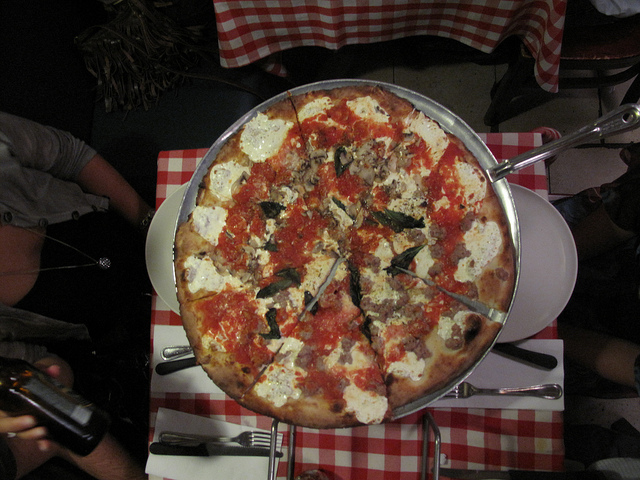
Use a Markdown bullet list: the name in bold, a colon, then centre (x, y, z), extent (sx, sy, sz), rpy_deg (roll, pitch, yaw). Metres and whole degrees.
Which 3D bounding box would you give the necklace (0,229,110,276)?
- **necklace**: centre (-1.283, 0.058, 2.831), extent (0.327, 0.057, 0.296), rpy_deg (13, 59, -31)
